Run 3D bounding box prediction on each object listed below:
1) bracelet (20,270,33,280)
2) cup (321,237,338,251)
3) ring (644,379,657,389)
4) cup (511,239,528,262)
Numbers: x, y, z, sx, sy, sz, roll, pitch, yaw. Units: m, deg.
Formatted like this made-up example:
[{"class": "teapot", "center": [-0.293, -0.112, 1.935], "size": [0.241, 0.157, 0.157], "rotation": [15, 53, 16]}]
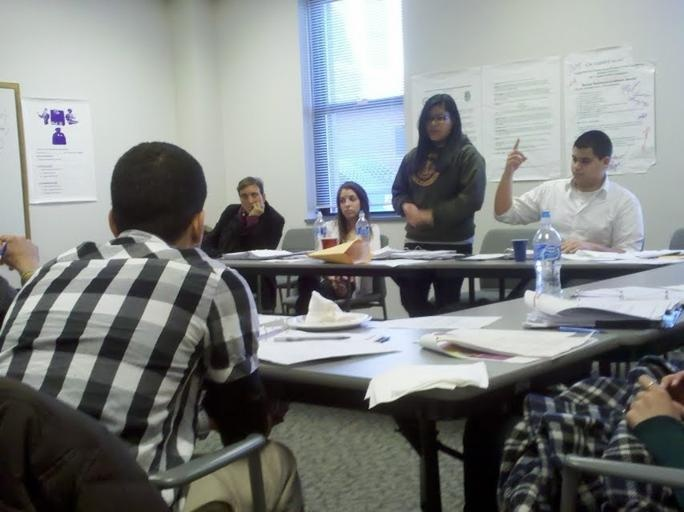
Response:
[{"class": "bracelet", "center": [-0.972, 0.055, 1.626], "size": [0.030, 0.023, 0.030], "rotation": [2, -1, -17]}, {"class": "cup", "center": [-0.074, -0.071, 3.066], "size": [0.065, 0.050, 0.066], "rotation": [-2, 4, 0]}, {"class": "ring", "center": [0.623, 0.258, 1.069], "size": [0.016, 0.012, 0.016], "rotation": [-3, 3, 0]}, {"class": "cup", "center": [0.884, -0.030, 2.669], "size": [0.101, 0.109, 0.101], "rotation": [0, -4, 0]}]
